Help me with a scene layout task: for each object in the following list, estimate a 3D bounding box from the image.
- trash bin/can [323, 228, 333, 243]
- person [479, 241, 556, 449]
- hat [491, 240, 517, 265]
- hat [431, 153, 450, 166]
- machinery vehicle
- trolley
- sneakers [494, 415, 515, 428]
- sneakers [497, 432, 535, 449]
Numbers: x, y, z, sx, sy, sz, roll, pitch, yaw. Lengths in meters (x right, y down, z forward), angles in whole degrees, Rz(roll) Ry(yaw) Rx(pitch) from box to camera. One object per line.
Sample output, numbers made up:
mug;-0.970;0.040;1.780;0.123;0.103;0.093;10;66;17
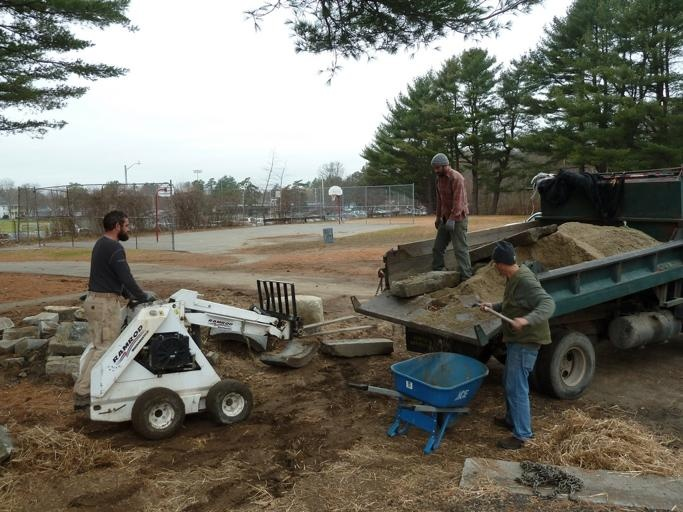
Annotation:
trash bin/can;-0.795;-1.120;28.665;0.957;0.693;0.790;-1;3;0
person;2.026;0.984;5.730;0.741;2.249;0.963;-1;13;10
hat;1.908;-0.023;5.887;0.278;0.203;0.327;2;3;9
hat;1.591;-1.536;8.105;0.324;0.196;0.356;-2;14;-5
machinery vehicle;-2.092;1.236;6.856;2.003;1.500;3.187;8;5;44
trolley;0.951;1.681;5.792;1.651;0.590;0.902;-10;12;-29
sneakers;1.991;2.000;6.069;0.105;0.126;0.230;1;24;-32
sneakers;1.955;2.046;5.627;0.358;0.102;0.160;-6;6;-24
